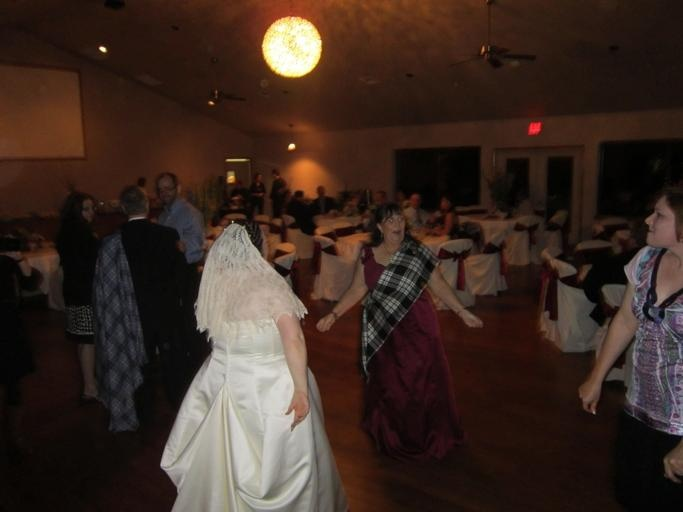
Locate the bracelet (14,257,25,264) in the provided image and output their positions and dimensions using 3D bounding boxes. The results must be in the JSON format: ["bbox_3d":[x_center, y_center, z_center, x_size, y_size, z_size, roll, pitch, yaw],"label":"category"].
[{"bbox_3d":[-3.798,0.051,5.503,0.084,0.034,0.092,18,7,28],"label":"bracelet"}]

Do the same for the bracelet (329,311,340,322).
[{"bbox_3d":[-0.051,0.459,3.416,0.069,0.055,0.068,19,8,-44],"label":"bracelet"}]

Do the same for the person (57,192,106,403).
[{"bbox_3d":[-2.182,0.405,3.980,0.345,1.861,0.416,-9,14,-31],"label":"person"}]

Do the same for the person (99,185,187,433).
[{"bbox_3d":[-1.608,0.400,3.807,0.645,1.931,0.542,-3,19,-25],"label":"person"}]
